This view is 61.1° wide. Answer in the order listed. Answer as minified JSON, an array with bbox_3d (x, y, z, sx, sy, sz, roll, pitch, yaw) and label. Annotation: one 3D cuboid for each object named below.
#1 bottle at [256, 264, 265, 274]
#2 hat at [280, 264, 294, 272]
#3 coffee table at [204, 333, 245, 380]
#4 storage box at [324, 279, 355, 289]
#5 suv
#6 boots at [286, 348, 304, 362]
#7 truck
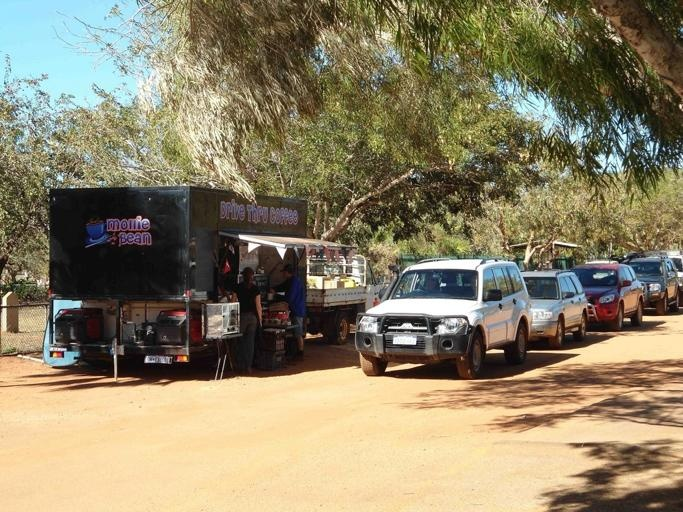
[{"bbox_3d":[-2.226,0.362,16.165,0.172,0.209,0.198,-6,4,1],"label":"bottle"},{"bbox_3d":[-1.348,0.297,14.988,0.208,0.251,0.182,6,8,-11],"label":"hat"},{"bbox_3d":[-2.583,2.231,13.035,0.801,1.182,1.157,0,2,21],"label":"coffee table"},{"bbox_3d":[-0.046,0.832,17.708,0.521,0.279,2.029,-2,-2,20],"label":"storage box"},{"bbox_3d":[2.395,1.281,12.784,4.176,2.510,2.240,1,-2,-43],"label":"suv"},{"bbox_3d":[-1.227,2.592,15.244,0.189,0.363,0.491,1,4,-36],"label":"boots"},{"bbox_3d":[-0.274,1.365,18.344,1.612,1.820,3.258,2,9,28],"label":"truck"}]
